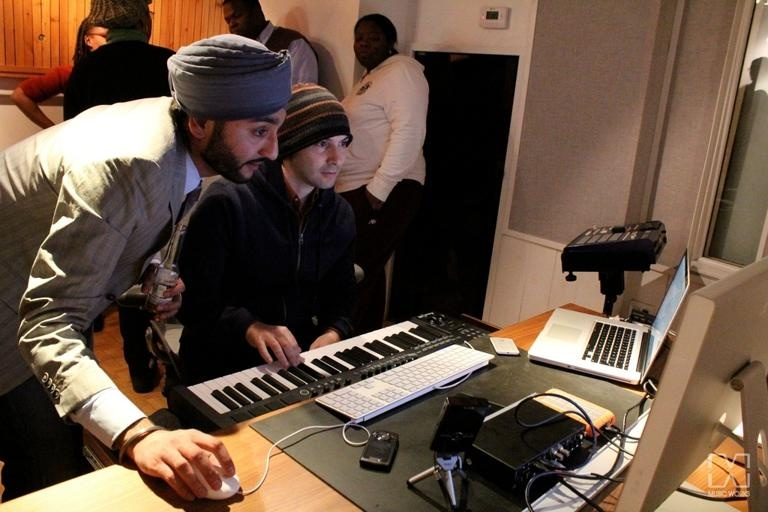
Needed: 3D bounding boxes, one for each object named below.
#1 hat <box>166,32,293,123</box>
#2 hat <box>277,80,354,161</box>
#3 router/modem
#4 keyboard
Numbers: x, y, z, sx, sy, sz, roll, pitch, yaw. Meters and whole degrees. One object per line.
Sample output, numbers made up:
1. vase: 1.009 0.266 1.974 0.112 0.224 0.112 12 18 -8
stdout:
1. hat: -0.461 -0.530 1.664 0.300 0.172 0.295 13 27 21
2. hat: -0.283 -0.560 2.315 0.302 0.283 0.228 10 25 15
3. router/modem: 0.348 0.479 1.575 0.354 0.167 0.317 6 12 -14
4. keyboard: 0.115 0.405 1.838 0.666 0.059 0.188 -10 21 -39
